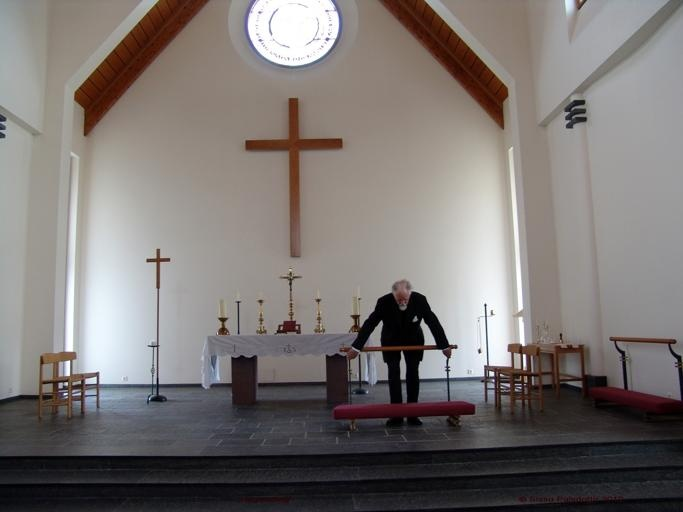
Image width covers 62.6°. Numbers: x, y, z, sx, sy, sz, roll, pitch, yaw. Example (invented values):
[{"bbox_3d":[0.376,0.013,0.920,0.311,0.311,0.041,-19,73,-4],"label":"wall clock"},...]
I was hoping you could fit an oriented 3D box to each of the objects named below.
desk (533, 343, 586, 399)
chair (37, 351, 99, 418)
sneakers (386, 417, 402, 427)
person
[{"bbox_3d":[3.204,1.692,8.406,0.369,0.756,1.110,1,-9,3],"label":"desk"},{"bbox_3d":[-3.956,1.866,8.062,0.262,0.586,0.863,-1,-4,-3],"label":"chair"},{"bbox_3d":[0.609,1.928,6.541,0.230,0.115,0.080,10,-13,-34],"label":"sneakers"},{"bbox_3d":[0.716,1.102,6.658,1.097,1.649,0.635,-1,8,3],"label":"person"}]
